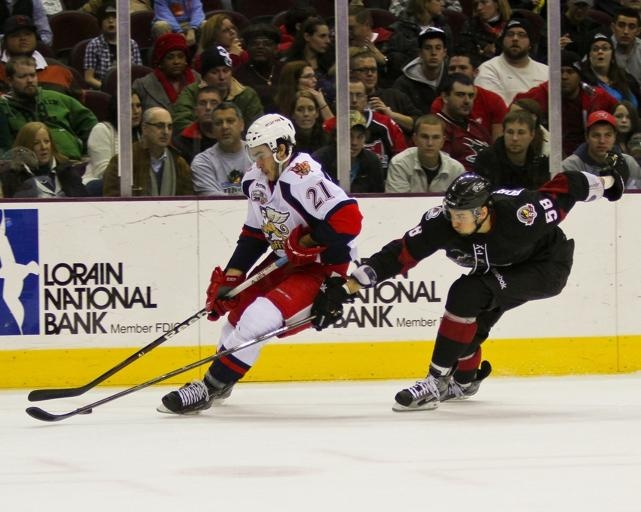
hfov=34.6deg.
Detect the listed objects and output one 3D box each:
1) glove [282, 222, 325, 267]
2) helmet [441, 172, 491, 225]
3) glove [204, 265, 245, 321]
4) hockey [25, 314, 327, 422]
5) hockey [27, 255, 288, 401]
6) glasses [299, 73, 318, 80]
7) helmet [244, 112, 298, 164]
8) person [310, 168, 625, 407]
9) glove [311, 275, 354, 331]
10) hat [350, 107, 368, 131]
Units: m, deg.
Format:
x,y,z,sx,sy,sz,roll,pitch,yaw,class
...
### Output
x,y,z,sx,sy,sz,roll,pitch,yaw,class
-0.117,-0.052,5.505,0.235,0.185,0.179,-10,48,-39,glove
0.768,-0.284,5.357,0.226,0.276,0.161,-8,11,-39,helmet
-0.540,0.205,5.753,0.134,0.258,0.275,30,-31,2,glove
-0.910,0.651,5.927,1.266,0.195,0.137,-17,46,-13,hockey
-1.010,0.414,6.025,1.656,0.241,0.177,-24,13,-8,hockey
-0.064,-1.100,6.300,0.096,0.046,0.026,-4,9,-27,glasses
-0.249,-0.643,5.569,0.304,0.252,0.227,-8,10,-23,helmet
0.776,0.175,5.965,1.944,1.329,0.640,-11,29,-13,person
0.062,0.255,5.505,0.184,0.285,0.084,27,0,9,glove
0.237,-0.839,6.357,0.088,0.084,0.122,0,-23,21,hat
